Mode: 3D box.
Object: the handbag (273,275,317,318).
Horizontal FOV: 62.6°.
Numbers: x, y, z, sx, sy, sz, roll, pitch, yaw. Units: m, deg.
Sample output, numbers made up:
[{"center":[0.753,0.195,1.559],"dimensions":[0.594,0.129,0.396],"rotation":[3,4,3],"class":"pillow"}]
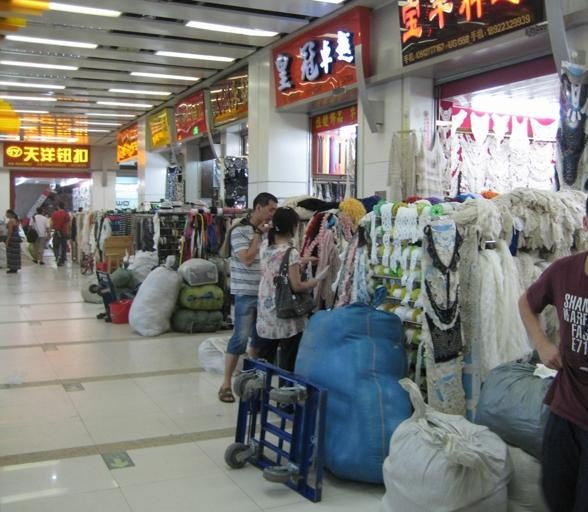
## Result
[{"center":[-0.005,0.271,3.166],"dimensions":[0.268,0.297,0.135],"rotation":[-10,8,-34],"class":"handbag"}]
